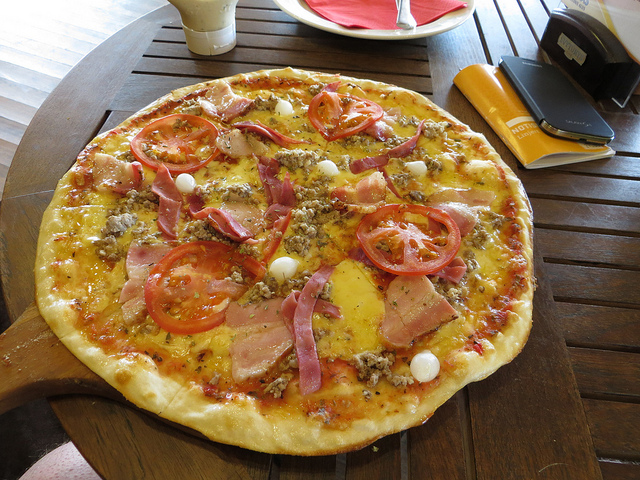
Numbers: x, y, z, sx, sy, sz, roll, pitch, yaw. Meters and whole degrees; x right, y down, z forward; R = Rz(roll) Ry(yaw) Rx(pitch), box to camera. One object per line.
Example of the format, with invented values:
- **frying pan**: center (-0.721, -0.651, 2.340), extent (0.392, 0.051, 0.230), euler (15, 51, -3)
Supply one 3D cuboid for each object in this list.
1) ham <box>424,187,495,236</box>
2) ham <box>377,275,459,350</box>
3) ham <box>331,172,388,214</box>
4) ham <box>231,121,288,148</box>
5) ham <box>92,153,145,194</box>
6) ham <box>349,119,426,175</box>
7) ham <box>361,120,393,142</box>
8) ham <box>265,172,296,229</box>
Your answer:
- **ham**: center (0.920, -0.250, 4.002), extent (0.338, 0.074, 0.376), euler (28, 49, 36)
- **ham**: center (0.527, 0.418, 3.606), extent (0.456, 0.126, 0.439), euler (-40, 55, 6)
- **ham**: center (0.220, -0.312, 3.970), extent (0.577, 0.231, 0.329), euler (-1, 27, -3)
- **ham**: center (-0.442, -0.740, 4.254), extent (0.414, 0.111, 0.083), euler (15, 34, -10)
- **ham**: center (-1.371, -0.437, 4.001), extent (0.362, 0.071, 0.202), euler (3, 74, 3)
- **ham**: center (0.438, -0.596, 4.247), extent (0.732, 0.149, 0.191), euler (-33, 34, -15)
- **ham**: center (0.425, -0.790, 4.355), extent (0.194, 0.063, 0.177), euler (-38, 71, -19)
- **ham**: center (-0.347, -0.321, 3.981), extent (0.103, 0.165, 0.415), euler (-5, 66, -26)
